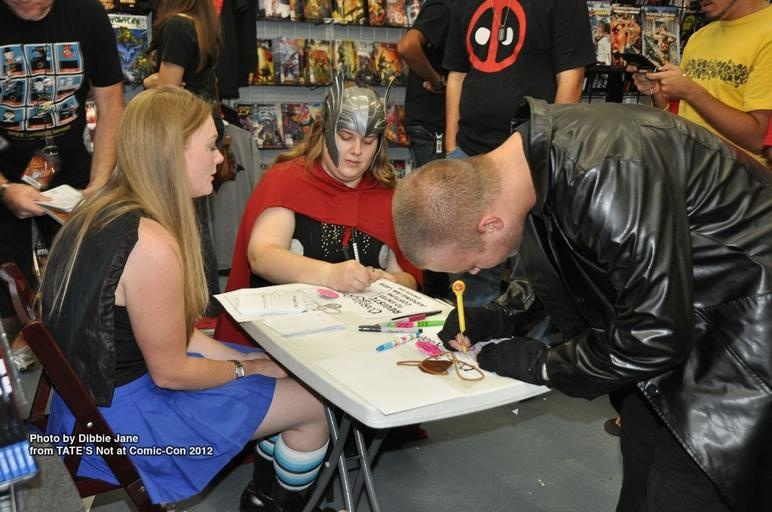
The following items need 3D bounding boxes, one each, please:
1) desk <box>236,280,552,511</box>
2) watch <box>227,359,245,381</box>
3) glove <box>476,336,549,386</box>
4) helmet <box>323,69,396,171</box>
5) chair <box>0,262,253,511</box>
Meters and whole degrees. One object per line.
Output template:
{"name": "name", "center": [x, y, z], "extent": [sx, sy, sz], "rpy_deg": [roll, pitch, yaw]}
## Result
{"name": "desk", "center": [-0.007, 0.588, 2.378], "extent": [0.491, 0.618, 0.865], "rpy_deg": [-6, 26, -29]}
{"name": "watch", "center": [-0.588, 0.455, 2.332], "extent": [0.048, 0.080, 0.071], "rpy_deg": [-4, 5, -36]}
{"name": "glove", "center": [0.438, 0.342, 1.959], "extent": [0.173, 0.075, 0.154], "rpy_deg": [22, 30, 34]}
{"name": "helmet", "center": [-0.149, -0.692, 2.955], "extent": [0.304, 0.463, 0.322], "rpy_deg": [3, 21, -24]}
{"name": "chair", "center": [-1.032, 0.309, 2.502], "extent": [0.920, 1.431, 0.734], "rpy_deg": [-7, 27, -31]}
